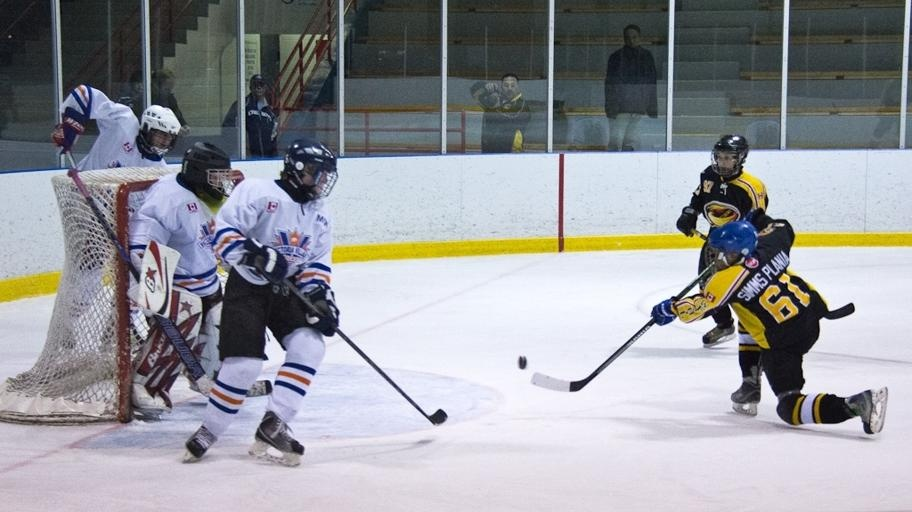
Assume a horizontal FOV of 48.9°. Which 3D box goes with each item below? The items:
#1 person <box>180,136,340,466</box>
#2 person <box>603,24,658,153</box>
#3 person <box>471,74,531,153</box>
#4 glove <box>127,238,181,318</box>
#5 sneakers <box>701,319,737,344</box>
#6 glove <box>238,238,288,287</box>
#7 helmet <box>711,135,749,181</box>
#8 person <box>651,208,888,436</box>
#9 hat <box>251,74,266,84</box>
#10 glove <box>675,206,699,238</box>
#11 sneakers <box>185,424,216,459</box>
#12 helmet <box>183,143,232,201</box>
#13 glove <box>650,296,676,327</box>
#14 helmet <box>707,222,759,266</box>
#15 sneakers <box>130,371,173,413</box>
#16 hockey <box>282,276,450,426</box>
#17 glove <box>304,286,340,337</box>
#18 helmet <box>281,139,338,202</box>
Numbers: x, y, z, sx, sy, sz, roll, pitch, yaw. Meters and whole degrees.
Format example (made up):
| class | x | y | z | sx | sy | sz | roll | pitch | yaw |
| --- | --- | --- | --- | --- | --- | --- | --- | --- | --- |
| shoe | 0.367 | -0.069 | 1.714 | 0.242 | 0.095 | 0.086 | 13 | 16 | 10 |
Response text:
| class | x | y | z | sx | sy | sz | roll | pitch | yaw |
| --- | --- | --- | --- | --- | --- | --- | --- | --- | --- |
| person | -1.203 | 0.288 | 6.455 | 0.875 | 2.090 | 0.492 | 3 | 8 | -10 |
| person | 2.058 | -1.976 | 11.736 | 0.650 | 1.467 | 0.138 | 2 | 8 | -14 |
| person | 0.514 | -1.673 | 11.611 | 0.713 | 0.915 | 0.167 | 3 | 8 | -3 |
| glove | -2.003 | 0.164 | 6.764 | 0.262 | 0.511 | 0.144 | 1 | 8 | -23 |
| sneakers | 2.215 | 0.675 | 8.503 | 0.361 | 0.142 | 0.123 | -25 | 21 | -9 |
| glove | -1.213 | 0.054 | 6.357 | 0.329 | 0.224 | 0.135 | 30 | 42 | 10 |
| helmet | 2.236 | -0.815 | 8.214 | 0.254 | 0.358 | 0.224 | 5 | 7 | 9 |
| person | 2.200 | 0.458 | 6.925 | 1.548 | 1.349 | 0.414 | 6 | 8 | 22 |
| hat | -2.130 | -1.905 | 10.767 | 0.106 | 0.065 | 0.101 | 3 | -3 | -35 |
| glove | 2.023 | -0.290 | 8.743 | 0.220 | 0.249 | 0.122 | 16 | -4 | -8 |
| sneakers | -1.651 | 1.226 | 6.484 | 0.137 | 0.111 | 0.303 | -40 | 6 | -10 |
| helmet | -1.726 | -0.598 | 7.028 | 0.388 | 0.326 | 0.324 | 12 | 14 | -18 |
| glove | 1.517 | 0.420 | 7.104 | 0.233 | 0.088 | 0.160 | -25 | 37 | 18 |
| helmet | 1.921 | -0.098 | 6.993 | 0.364 | 0.289 | 0.318 | -20 | 19 | -41 |
| sneakers | -2.170 | 0.988 | 7.039 | 0.327 | 0.151 | 0.194 | 34 | 10 | -7 |
| hockey | -0.674 | 0.768 | 7.537 | 0.162 | 1.516 | 0.213 | -45 | 13 | 44 |
| glove | -0.853 | 0.361 | 6.538 | 0.234 | 0.330 | 0.142 | -10 | 0 | 13 |
| helmet | -0.926 | -0.567 | 6.589 | 0.432 | 0.340 | 0.337 | 7 | -10 | 42 |
